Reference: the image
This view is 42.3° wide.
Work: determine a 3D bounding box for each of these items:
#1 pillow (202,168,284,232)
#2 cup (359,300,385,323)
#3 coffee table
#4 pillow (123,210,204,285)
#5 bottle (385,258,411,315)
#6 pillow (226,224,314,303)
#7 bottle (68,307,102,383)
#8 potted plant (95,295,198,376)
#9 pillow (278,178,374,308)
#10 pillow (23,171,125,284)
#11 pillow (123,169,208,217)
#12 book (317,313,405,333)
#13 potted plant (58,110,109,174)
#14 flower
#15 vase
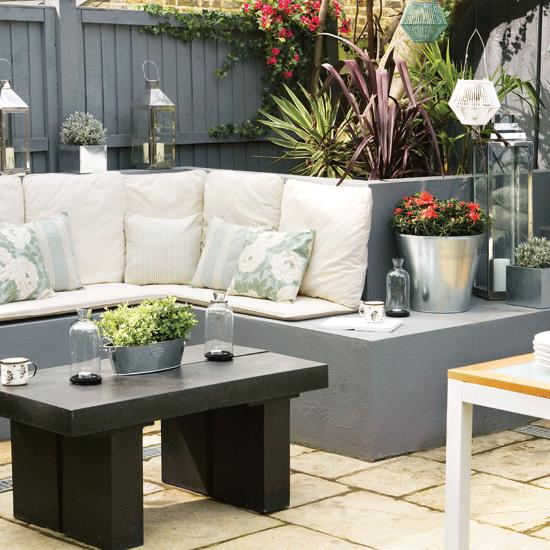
[{"bbox_3d":[-0.193,-0.449,4.123,0.449,0.381,0.125,2,-1,42],"label":"pillow"},{"bbox_3d":[0.438,0.162,3.159,0.091,0.078,0.079,0,6,3],"label":"cup"},{"bbox_3d":[-0.402,0.548,2.369,0.976,0.523,0.601,-2,4,-40],"label":"coffee table"},{"bbox_3d":[-0.663,-0.140,4.156,0.359,0.390,0.143,1,-12,-8],"label":"pillow"},{"bbox_3d":[0.594,0.060,3.445,0.117,0.274,0.154,1,3,9],"label":"bottle"},{"bbox_3d":[-0.012,-0.059,3.600,0.369,0.382,0.116,3,-18,43],"label":"pillow"},{"bbox_3d":[-0.599,0.215,2.237,0.097,0.219,0.222,-1,3,-16],"label":"bottle"},{"bbox_3d":[-0.428,0.195,2.335,0.286,0.228,0.203,-11,22,-38],"label":"potted plant"},{"bbox_3d":[0.285,-0.158,3.554,0.165,0.604,0.533,5,3,-43],"label":"pillow"},{"bbox_3d":[-1.081,-0.261,4.076,0.544,0.620,0.212,0,1,-24],"label":"pillow"},{"bbox_3d":[-0.669,-0.486,4.323,0.304,0.355,0.122,-2,0,-4],"label":"pillow"},{"bbox_3d":[0.392,0.213,3.219,0.358,0.050,0.271,2,3,20],"label":"book"},{"bbox_3d":[-1.277,-0.866,4.664,0.294,0.390,0.260,13,19,40],"label":"potted plant"},{"bbox_3d":[0.818,-0.297,3.546,0.455,0.218,0.278,1,3,12],"label":"flower"},{"bbox_3d":[0.863,-0.051,3.652,0.423,0.429,0.489,0,16,12],"label":"vase"}]
